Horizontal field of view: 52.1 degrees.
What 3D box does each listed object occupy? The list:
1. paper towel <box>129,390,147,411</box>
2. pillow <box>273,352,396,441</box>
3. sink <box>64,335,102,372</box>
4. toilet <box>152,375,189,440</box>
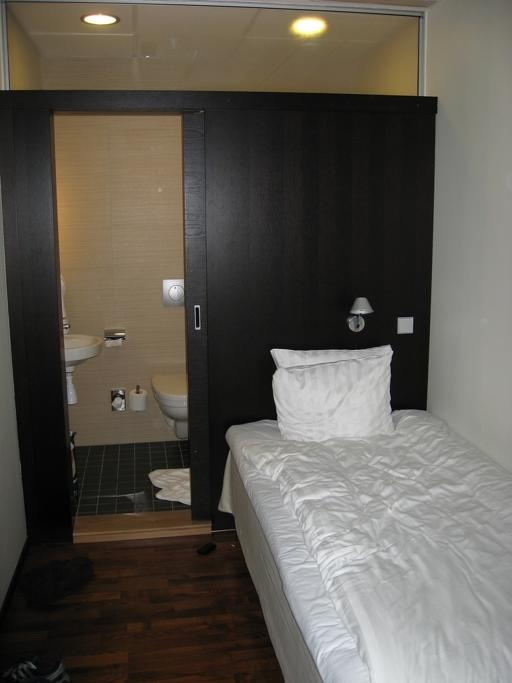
[{"bbox_3d":[-0.854,0.432,3.865,0.135,0.143,0.135,2,7,8],"label":"paper towel"},{"bbox_3d":[0.330,0.242,2.250,0.309,0.247,0.112,-4,-28,-5],"label":"pillow"},{"bbox_3d":[-1.043,0.047,3.154,0.190,0.107,0.290,-3,20,-18],"label":"sink"},{"bbox_3d":[-0.562,0.481,3.571,0.353,0.352,0.500,-2,10,-9],"label":"toilet"}]
